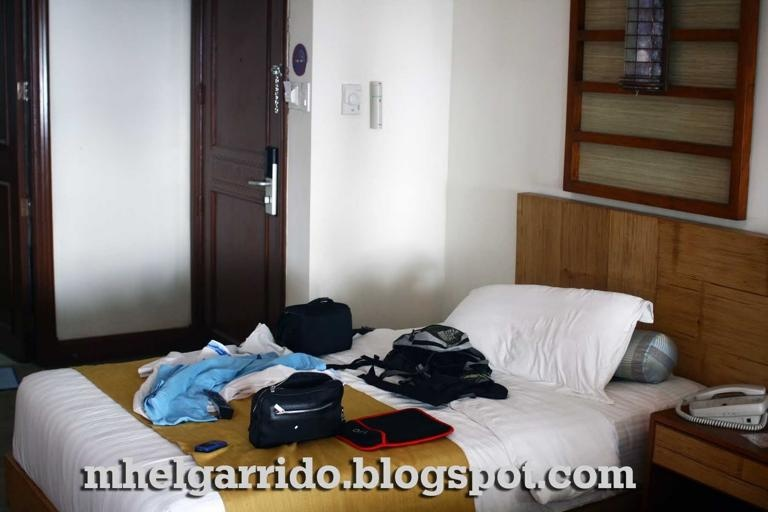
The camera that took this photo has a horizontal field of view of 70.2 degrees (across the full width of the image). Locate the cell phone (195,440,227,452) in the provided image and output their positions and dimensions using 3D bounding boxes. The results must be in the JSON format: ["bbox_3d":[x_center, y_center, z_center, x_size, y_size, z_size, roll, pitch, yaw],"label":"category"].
[{"bbox_3d":[-0.706,0.782,2.255,0.066,0.018,0.050,-1,5,-20],"label":"cell phone"}]

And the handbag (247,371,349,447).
[{"bbox_3d":[-0.367,0.661,2.388,0.419,0.292,0.227,-2,6,-38],"label":"handbag"}]

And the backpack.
[{"bbox_3d":[0.296,0.576,2.899,0.376,0.171,0.513,8,8,43],"label":"backpack"}]

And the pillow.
[{"bbox_3d":[0.925,0.461,3.085,0.825,0.625,0.264,10,-21,34],"label":"pillow"}]

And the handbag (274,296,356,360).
[{"bbox_3d":[-0.411,0.410,3.404,0.460,0.316,0.335,-3,8,-41],"label":"handbag"}]
